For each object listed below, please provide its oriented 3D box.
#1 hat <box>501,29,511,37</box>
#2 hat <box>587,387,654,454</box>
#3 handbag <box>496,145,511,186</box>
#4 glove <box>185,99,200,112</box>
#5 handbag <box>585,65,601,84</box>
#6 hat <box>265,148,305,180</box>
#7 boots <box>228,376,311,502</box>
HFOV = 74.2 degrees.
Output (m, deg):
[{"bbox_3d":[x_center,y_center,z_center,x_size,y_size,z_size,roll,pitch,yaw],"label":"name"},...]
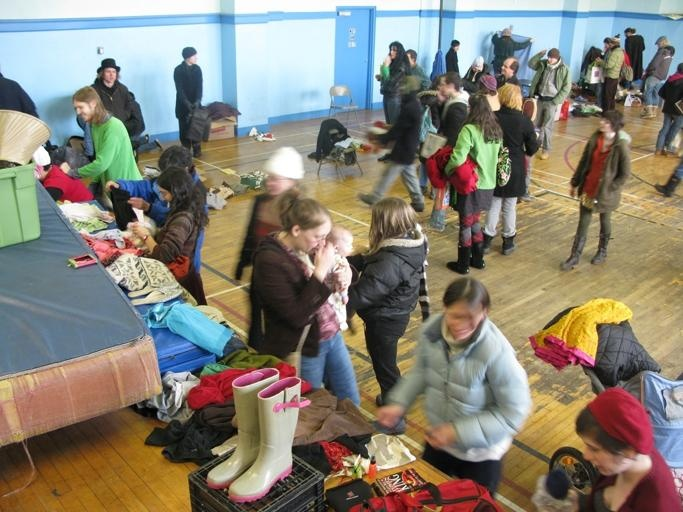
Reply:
[{"bbox_3d":[5.710,-7.792,15.818,0.313,0.307,0.408,1,33,10],"label":"hat"},{"bbox_3d":[1.155,0.683,1.927,0.208,0.106,0.275,-30,59,-12],"label":"hat"},{"bbox_3d":[2.126,-1.207,6.117,0.204,0.558,0.247,2,22,13],"label":"handbag"},{"bbox_3d":[-3.355,-3.370,10.073,0.256,0.177,0.235,-7,45,6],"label":"glove"},{"bbox_3d":[8.343,-6.047,14.995,0.345,0.582,0.520,-19,40,-12],"label":"handbag"},{"bbox_3d":[-0.435,-0.680,3.454,0.284,0.198,0.268,11,41,-4],"label":"hat"},{"bbox_3d":[-0.314,0.772,1.886,0.184,0.451,0.388,13,26,28],"label":"boots"}]
